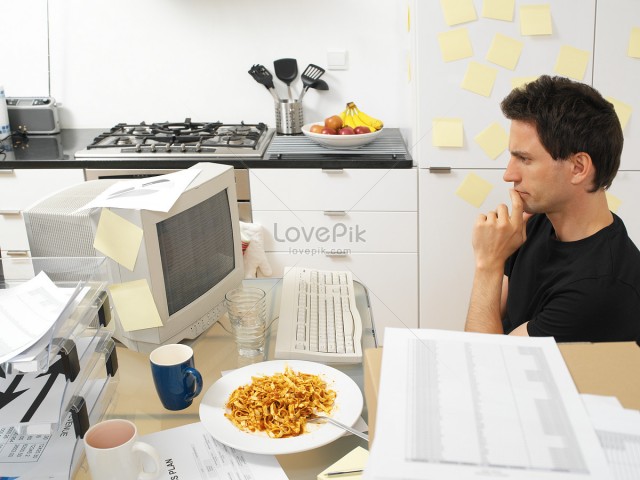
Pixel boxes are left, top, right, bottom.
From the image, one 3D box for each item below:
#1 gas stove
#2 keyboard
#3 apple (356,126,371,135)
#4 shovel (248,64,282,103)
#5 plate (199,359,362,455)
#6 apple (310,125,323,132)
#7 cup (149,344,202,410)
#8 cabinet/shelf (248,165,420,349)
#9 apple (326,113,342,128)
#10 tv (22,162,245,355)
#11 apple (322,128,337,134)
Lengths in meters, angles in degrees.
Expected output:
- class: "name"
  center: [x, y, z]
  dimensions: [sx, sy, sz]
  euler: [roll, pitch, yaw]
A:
- class: "gas stove"
  center: [-0.770, -0.582, 2.516]
  dimensions: [0.962, 0.159, 0.588]
  euler: [0, 20, 1]
- class: "keyboard"
  center: [-0.001, 0.196, 1.238]
  dimensions: [0.213, 0.051, 0.492]
  euler: [4, 20, 0]
- class: "apple"
  center: [0.226, -0.578, 2.353]
  dimensions: [0.062, 0.049, 0.083]
  euler: [2, 8, 6]
- class: "shovel"
  center: [-0.345, -0.980, 2.740]
  dimensions: [0.102, 0.050, 0.357]
  euler: [-32, 61, 0]
- class: "plate"
  center: [-0.074, 0.317, 0.863]
  dimensions: [0.308, 0.034, 0.236]
  euler: [-3, 20, -7]
- class: "apple"
  center: [-0.025, -0.594, 2.411]
  dimensions: [0.049, 0.051, 0.052]
  euler: [-1, 7, 2]
- class: "cup"
  center: [-0.293, 0.280, 0.904]
  dimensions: [0.077, 0.109, 0.089]
  euler: [-15, 24, -37]
- class: "cabinet/shelf"
  center: [0.093, -0.091, 3.037]
  dimensions: [0.945, 0.762, 1.377]
  euler: [1, 9, 1]
- class: "apple"
  center: [0.077, -0.650, 2.455]
  dimensions: [0.070, 0.078, 0.075]
  euler: [3, 34, 1]
- class: "tv"
  center: [-0.415, 0.018, 1.242]
  dimensions: [0.439, 0.450, 0.479]
  euler: [5, 23, 8]
- class: "apple"
  center: [0.046, -0.582, 2.379]
  dimensions: [0.045, 0.037, 0.062]
  euler: [4, 9, 4]
